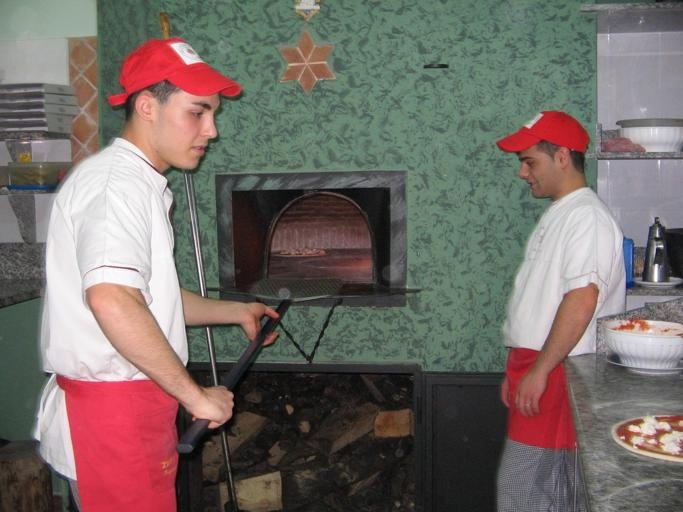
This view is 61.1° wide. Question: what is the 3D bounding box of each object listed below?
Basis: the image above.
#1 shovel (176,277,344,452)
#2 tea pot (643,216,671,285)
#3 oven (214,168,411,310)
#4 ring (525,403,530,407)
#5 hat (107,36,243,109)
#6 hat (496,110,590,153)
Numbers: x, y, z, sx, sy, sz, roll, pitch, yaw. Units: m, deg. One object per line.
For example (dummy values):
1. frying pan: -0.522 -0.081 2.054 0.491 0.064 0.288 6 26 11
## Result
1. shovel: -0.311 0.312 2.078 0.513 0.140 1.266 -4 14 12
2. tea pot: 1.548 -0.035 2.834 0.115 0.306 0.204 3 10 30
3. oven: -0.131 -0.113 3.022 0.930 0.586 0.489 -1 5 1
4. ring: 0.684 0.544 2.129 0.014 0.017 0.006 3 34 13
5. hat: -0.489 -0.531 1.757 0.368 0.159 0.203 -7 6 9
6. hat: 0.795 -0.480 2.294 0.298 0.140 0.183 8 12 9
